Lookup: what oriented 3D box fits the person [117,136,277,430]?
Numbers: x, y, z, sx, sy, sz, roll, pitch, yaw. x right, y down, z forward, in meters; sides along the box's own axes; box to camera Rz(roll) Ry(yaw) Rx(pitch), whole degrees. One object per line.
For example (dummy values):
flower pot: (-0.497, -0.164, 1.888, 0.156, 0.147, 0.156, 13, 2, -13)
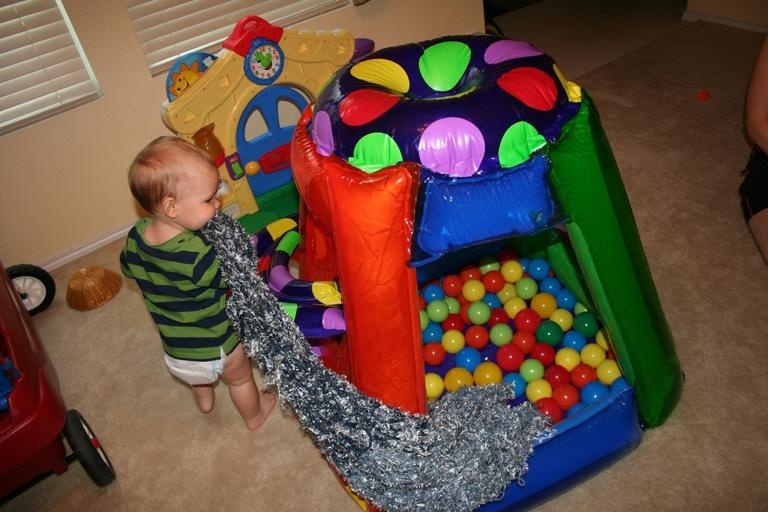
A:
person: (-0.864, 0.209, 2.627, 0.510, 1.453, 0.475, 11, 39, 19)
